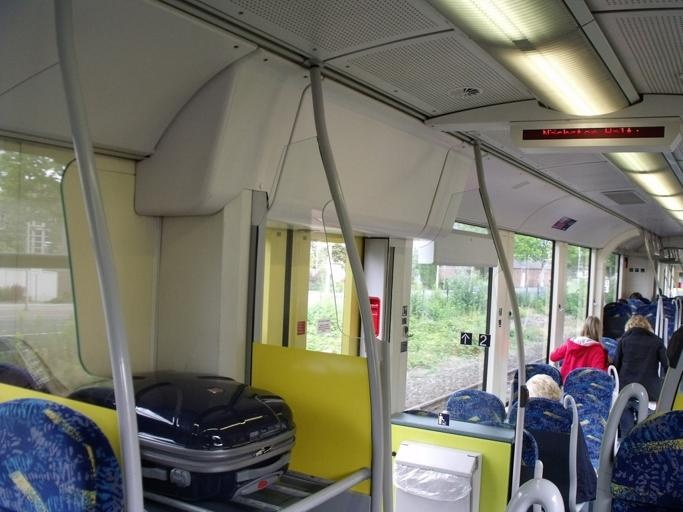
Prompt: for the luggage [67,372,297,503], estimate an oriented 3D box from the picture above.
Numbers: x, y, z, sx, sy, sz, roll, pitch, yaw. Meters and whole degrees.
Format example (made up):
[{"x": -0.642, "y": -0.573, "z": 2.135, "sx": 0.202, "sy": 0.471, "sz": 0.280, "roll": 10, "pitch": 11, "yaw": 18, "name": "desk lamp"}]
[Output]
[{"x": -0.643, "y": 0.675, "z": 1.978, "sx": 0.744, "sy": 0.332, "sz": 0.462, "roll": 5, "pitch": 2, "yaw": 37, "name": "luggage"}]
